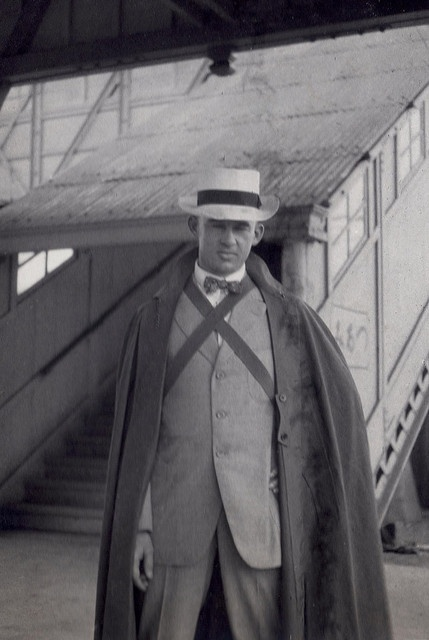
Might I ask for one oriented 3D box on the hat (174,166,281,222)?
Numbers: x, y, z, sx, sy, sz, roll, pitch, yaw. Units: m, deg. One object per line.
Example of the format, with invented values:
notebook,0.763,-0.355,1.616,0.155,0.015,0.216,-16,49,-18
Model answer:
hat,0.022,-0.348,2.391,0.137,0.117,0.198,0,11,-25
